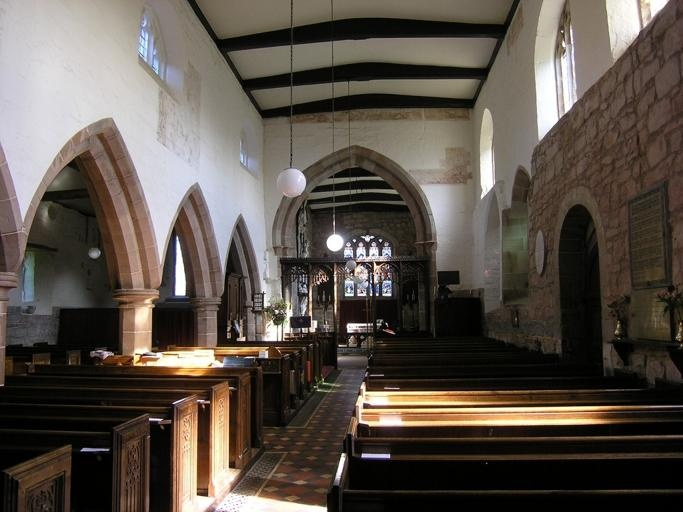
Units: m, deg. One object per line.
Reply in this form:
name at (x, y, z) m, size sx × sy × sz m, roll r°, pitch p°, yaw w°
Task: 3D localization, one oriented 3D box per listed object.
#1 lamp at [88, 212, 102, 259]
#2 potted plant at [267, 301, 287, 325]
lamp at (-6.544, -0.519, 15.080) m, size 0.353 × 1.217 × 2.179 m, roll 1°, pitch -7°, yaw -23°
potted plant at (-1.706, 1.503, 15.096) m, size 0.497 × 0.752 × 0.634 m, roll -3°, pitch 0°, yaw -13°
